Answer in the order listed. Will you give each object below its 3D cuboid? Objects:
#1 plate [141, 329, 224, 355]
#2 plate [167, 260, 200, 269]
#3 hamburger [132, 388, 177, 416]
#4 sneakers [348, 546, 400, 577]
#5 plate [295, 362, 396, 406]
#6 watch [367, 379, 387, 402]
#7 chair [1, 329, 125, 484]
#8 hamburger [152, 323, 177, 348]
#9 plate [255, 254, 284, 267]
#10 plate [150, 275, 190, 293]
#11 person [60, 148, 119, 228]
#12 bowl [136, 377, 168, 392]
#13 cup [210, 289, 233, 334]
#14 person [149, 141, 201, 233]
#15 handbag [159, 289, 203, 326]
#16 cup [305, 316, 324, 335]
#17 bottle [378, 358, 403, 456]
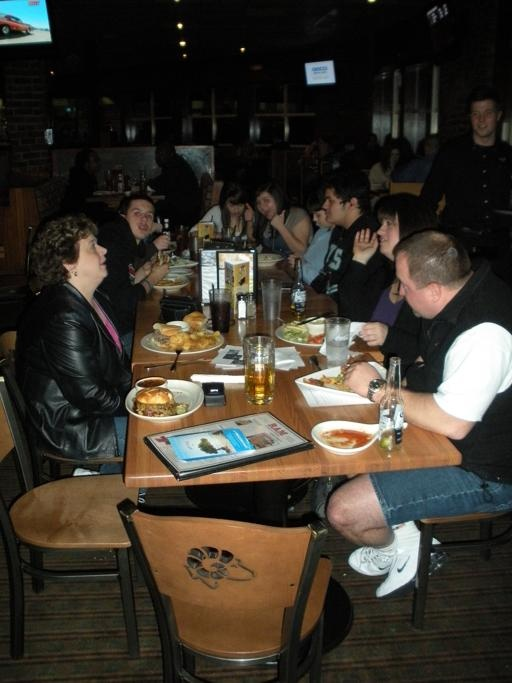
[{"bbox_3d":[-0.270,0.001,1.970,0.303,0.051,0.218,-1,14,-2],"label":"plate"},{"bbox_3d":[-0.448,-0.486,3.401,0.113,0.014,0.107,10,23,2],"label":"plate"},{"bbox_3d":[-0.266,0.159,1.426,0.083,0.043,0.079,2,10,-7],"label":"hamburger"},{"bbox_3d":[0.409,0.760,1.930,0.104,0.073,0.224,17,-21,-26],"label":"sneakers"},{"bbox_3d":[0.229,0.139,1.566,0.157,0.023,0.164,-16,27,-2],"label":"plate"},{"bbox_3d":[0.322,0.131,1.461,0.046,0.056,0.035,7,-4,8],"label":"watch"},{"bbox_3d":[-0.637,0.211,1.812,0.397,0.536,0.312,-3,43,-4],"label":"chair"},{"bbox_3d":[-0.337,-0.028,2.002,0.084,0.029,0.089,-17,29,1],"label":"hamburger"},{"bbox_3d":[0.084,-0.518,3.493,0.165,0.031,0.156,-2,25,-4],"label":"plate"},{"bbox_3d":[-0.456,-0.300,2.915,0.123,0.026,0.114,6,26,14],"label":"plate"},{"bbox_3d":[-1.829,-1.752,6.231,0.691,0.835,0.599,12,10,19],"label":"person"},{"bbox_3d":[-0.300,0.120,1.556,0.049,0.019,0.047,0,19,0],"label":"bowl"},{"bbox_3d":[-0.139,-0.123,2.178,0.082,0.168,0.206,-2,15,-3],"label":"cup"},{"bbox_3d":[-1.003,-1.652,6.244,0.700,1.129,0.538,4,-10,-6],"label":"person"},{"bbox_3d":[-0.321,-0.142,2.348,0.158,0.066,0.185,2,25,-5],"label":"handbag"},{"bbox_3d":[0.230,-0.061,2.076,0.061,0.048,0.066,-1,13,0],"label":"cup"},{"bbox_3d":[0.327,0.136,1.300,0.059,0.203,0.181,4,16,16],"label":"bottle"}]
